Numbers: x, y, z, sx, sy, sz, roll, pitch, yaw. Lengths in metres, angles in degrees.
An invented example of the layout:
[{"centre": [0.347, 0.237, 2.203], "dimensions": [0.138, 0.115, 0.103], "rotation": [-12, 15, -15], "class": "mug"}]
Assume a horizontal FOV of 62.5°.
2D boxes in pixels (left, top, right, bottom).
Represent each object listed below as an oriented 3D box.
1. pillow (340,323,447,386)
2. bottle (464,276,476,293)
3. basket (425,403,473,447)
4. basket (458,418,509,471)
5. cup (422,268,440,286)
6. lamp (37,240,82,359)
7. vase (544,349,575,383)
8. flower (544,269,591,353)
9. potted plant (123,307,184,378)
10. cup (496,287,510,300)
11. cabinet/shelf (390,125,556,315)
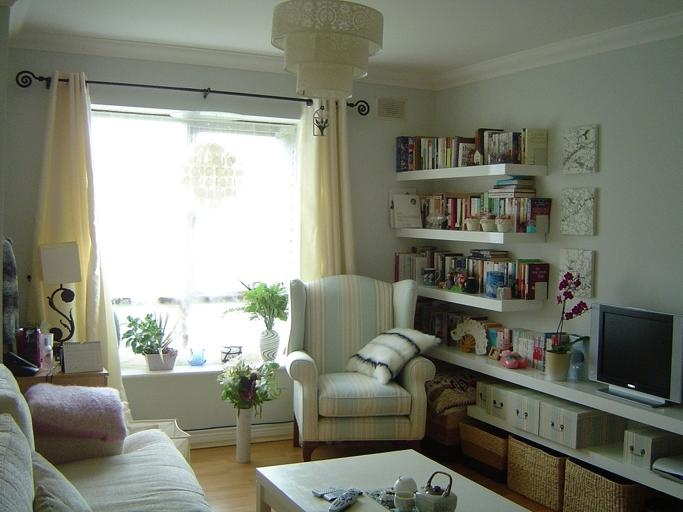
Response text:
[{"centre": [0.395, 0.767, 4.305], "dimensions": [0.716, 0.376, 0.415], "rotation": [-1, 4, 3], "class": "pillow"}, {"centre": [1.048, 0.234, 4.570], "dimensions": [0.100, 0.151, 0.106], "rotation": [2, 1, 0], "class": "bottle"}, {"centre": [0.862, 1.327, 4.494], "dimensions": [0.264, 0.331, 0.499], "rotation": [1, -1, -21], "class": "basket"}, {"centre": [1.040, 1.401, 4.157], "dimensions": [0.222, 0.214, 0.312], "rotation": [1, -1, -26], "class": "basket"}, {"centre": [0.791, 0.185, 4.999], "dimensions": [0.144, 0.161, 0.099], "rotation": [-5, -11, 4], "class": "cup"}, {"centre": [-1.962, 0.297, 3.946], "dimensions": [0.238, 0.798, 0.501], "rotation": [-3, 4, -28], "class": "lamp"}, {"centre": [1.478, 0.740, 3.814], "dimensions": [0.169, 0.190, 0.190], "rotation": [3, 0, 25], "class": "vase"}, {"centre": [1.590, 0.384, 3.956], "dimensions": [0.285, 0.551, 0.412], "rotation": [1, 4, 25], "class": "flower"}, {"centre": [-1.515, 0.704, 4.622], "dimensions": [0.445, 0.431, 0.463], "rotation": [1, -5, -12], "class": "potted plant"}, {"centre": [1.216, 0.277, 4.235], "dimensions": [0.076, 0.095, 0.106], "rotation": [4, -5, -7], "class": "cup"}, {"centre": [1.059, -0.340, 4.654], "dimensions": [0.472, 1.441, 1.321], "rotation": [-3, 4, -31], "class": "cabinet/shelf"}]
